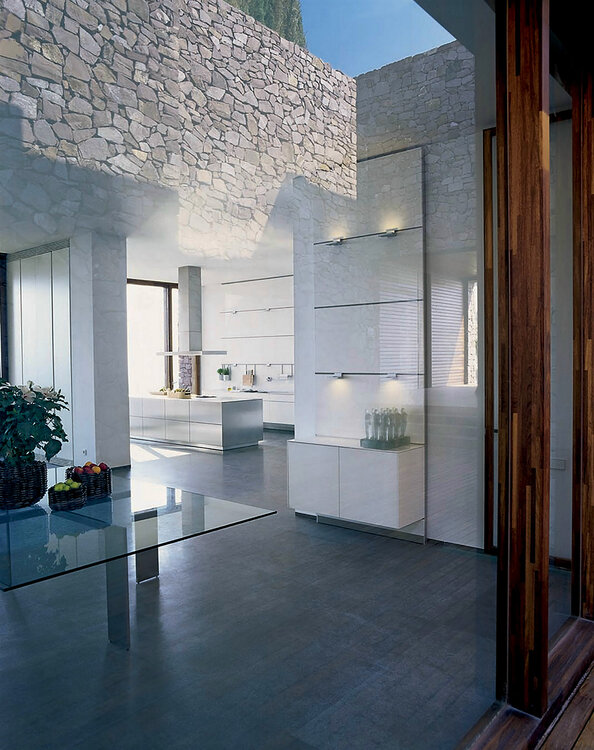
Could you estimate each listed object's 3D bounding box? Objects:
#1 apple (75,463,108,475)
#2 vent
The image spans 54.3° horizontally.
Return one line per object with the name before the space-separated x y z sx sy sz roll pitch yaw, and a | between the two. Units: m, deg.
apple | -0.808 0.358 2.255 0.063 0.027 0.063 -3 -4 43
vent | -1.552 -0.889 8.653 0.668 1.291 1.096 -1 -4 -19
